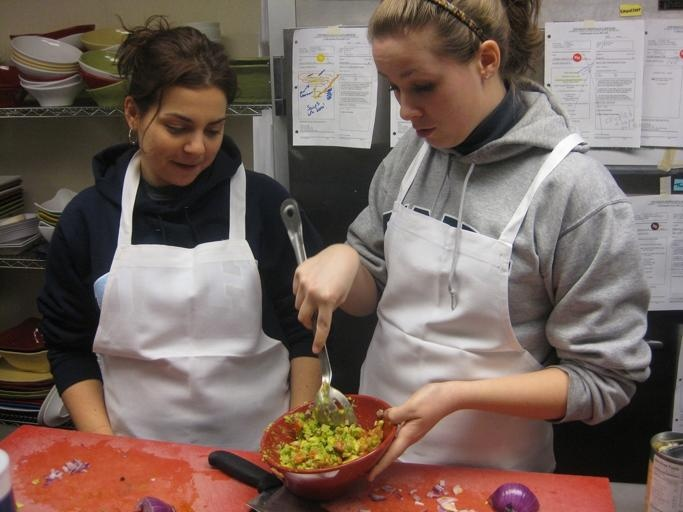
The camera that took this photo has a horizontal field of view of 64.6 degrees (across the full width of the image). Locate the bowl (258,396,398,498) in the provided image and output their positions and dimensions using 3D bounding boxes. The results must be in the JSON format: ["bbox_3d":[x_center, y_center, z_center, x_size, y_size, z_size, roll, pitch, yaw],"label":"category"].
[{"bbox_3d":[-0.029,0.463,1.280,0.312,0.182,0.233,-5,12,-9],"label":"bowl"}]
